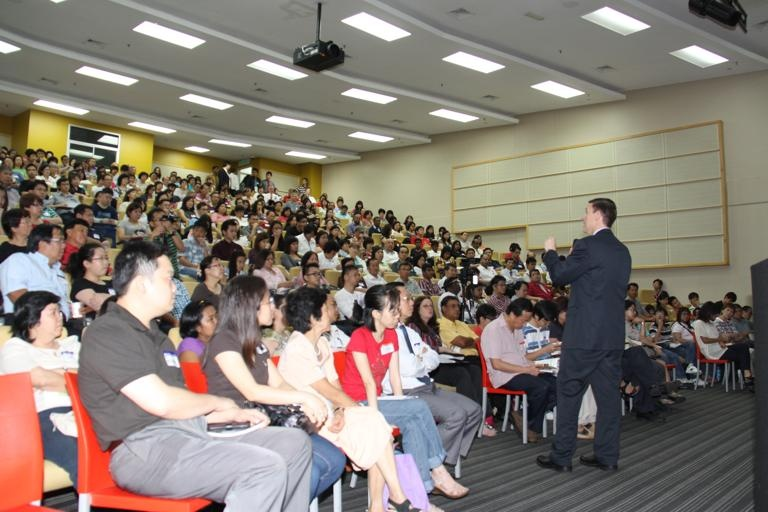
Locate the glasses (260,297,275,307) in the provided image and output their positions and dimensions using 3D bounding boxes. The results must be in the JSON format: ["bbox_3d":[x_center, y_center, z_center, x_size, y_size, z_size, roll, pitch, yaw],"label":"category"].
[{"bbox_3d":[-0.641,0.255,2.726,0.057,0.021,0.056,-13,-5,14],"label":"glasses"}]

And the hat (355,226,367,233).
[{"bbox_3d":[-0.524,-0.624,11.476,0.197,0.210,0.160,3,4,-18],"label":"hat"}]

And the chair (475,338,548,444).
[{"bbox_3d":[1.127,1.299,4.752,0.435,0.684,0.462,4,-11,1],"label":"chair"}]

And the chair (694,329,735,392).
[{"bbox_3d":[5.023,1.623,7.670,0.402,0.629,0.422,3,-9,-43],"label":"chair"}]

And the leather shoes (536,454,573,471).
[{"bbox_3d":[1.290,1.585,3.820,0.233,0.098,0.093,5,7,44],"label":"leather shoes"}]

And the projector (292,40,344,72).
[{"bbox_3d":[-1.098,-3.402,8.346,0.780,0.435,0.431,-1,-3,35],"label":"projector"}]

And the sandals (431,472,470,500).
[{"bbox_3d":[0.423,1.518,3.387,0.287,0.185,0.126,-2,-1,30],"label":"sandals"}]

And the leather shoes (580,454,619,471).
[{"bbox_3d":[1.643,1.593,3.855,0.265,0.114,0.106,6,4,41],"label":"leather shoes"}]

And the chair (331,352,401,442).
[{"bbox_3d":[-0.221,1.003,3.889,0.433,0.494,0.559,-15,-16,1],"label":"chair"}]

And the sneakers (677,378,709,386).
[{"bbox_3d":[4.713,1.922,7.684,0.394,0.168,0.134,-10,-8,34],"label":"sneakers"}]

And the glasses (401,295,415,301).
[{"bbox_3d":[0.164,0.314,3.705,0.073,0.023,0.073,-5,-7,19],"label":"glasses"}]

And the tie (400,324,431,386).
[{"bbox_3d":[0.217,0.740,3.866,0.090,0.725,0.109,18,-51,-26],"label":"tie"}]

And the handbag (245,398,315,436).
[{"bbox_3d":[-0.522,0.861,2.693,0.227,0.112,0.303,-3,-6,-4],"label":"handbag"}]
